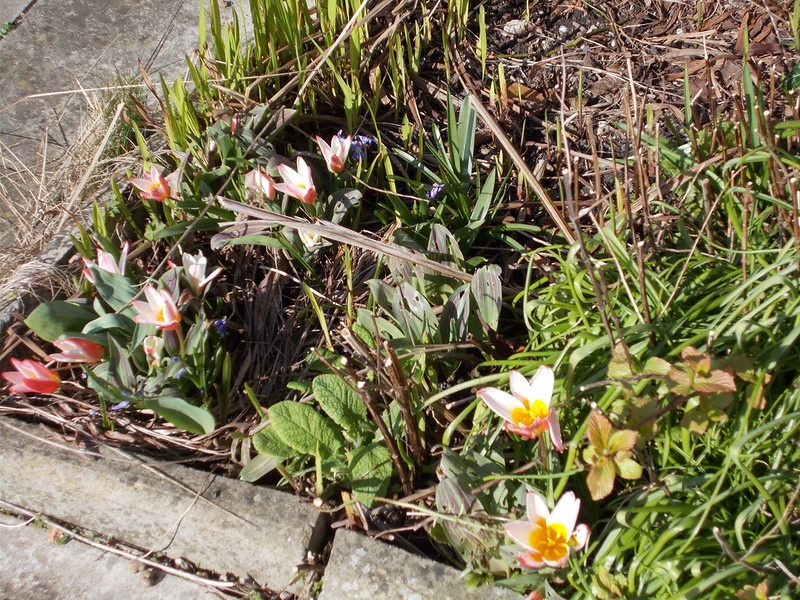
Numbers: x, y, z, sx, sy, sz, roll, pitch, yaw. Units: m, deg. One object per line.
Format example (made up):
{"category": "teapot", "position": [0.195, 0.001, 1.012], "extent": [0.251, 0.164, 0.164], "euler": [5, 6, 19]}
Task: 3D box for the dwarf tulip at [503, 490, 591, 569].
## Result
{"category": "dwarf tulip", "position": [0.350, 0.553, 1.524], "extent": [0.175, 0.094, 0.198], "euler": [-30, 67, -2]}
